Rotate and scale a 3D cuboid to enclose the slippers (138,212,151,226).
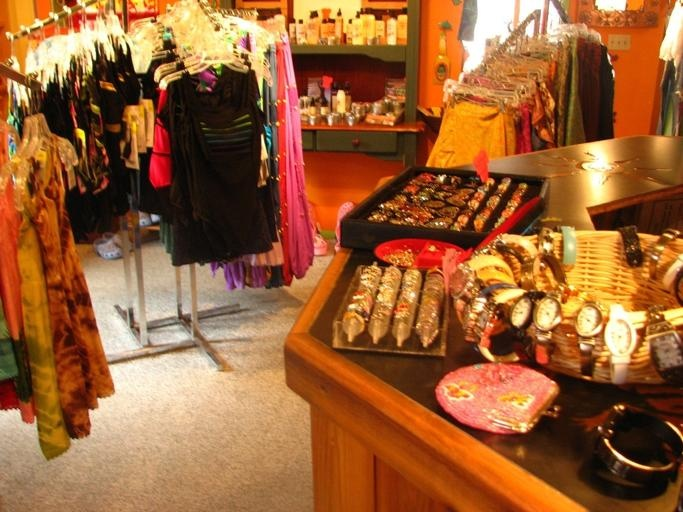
[{"bbox_3d":[-1.686,-0.315,4.557,0.092,0.137,0.113,-11,19,-22],"label":"slippers"}]
